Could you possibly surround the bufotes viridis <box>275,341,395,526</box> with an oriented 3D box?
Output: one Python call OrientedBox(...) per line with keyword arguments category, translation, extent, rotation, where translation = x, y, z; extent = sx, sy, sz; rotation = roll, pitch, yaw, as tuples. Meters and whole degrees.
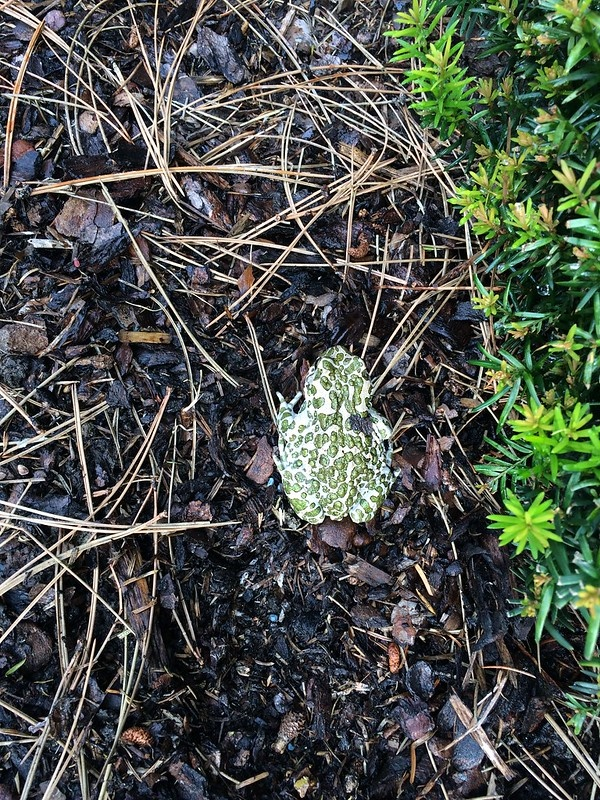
OrientedBox(category="bufotes viridis", translation=(0.111, 0.094, 2.269), extent=(0.407, 0.189, 0.532), rotation=(2, 93, -2))
